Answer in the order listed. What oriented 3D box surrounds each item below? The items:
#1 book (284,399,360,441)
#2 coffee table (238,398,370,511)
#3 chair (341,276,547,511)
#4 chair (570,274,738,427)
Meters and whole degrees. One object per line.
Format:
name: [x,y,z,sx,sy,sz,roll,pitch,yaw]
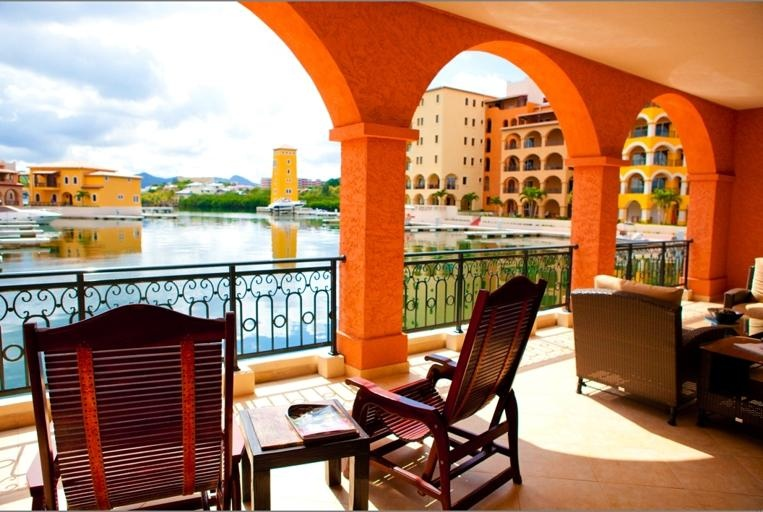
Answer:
book: [-0.418,1.095,3.436,0.263,0.033,0.256,-3,18,-30]
coffee table: [-0.535,1.387,3.635,0.822,0.739,0.769,-4,11,-25]
chair: [0.635,0.857,4.722,1.493,2.389,1.764,-4,10,-42]
chair: [2.852,0.796,5.501,1.666,1.399,1.197,-6,9,-41]
